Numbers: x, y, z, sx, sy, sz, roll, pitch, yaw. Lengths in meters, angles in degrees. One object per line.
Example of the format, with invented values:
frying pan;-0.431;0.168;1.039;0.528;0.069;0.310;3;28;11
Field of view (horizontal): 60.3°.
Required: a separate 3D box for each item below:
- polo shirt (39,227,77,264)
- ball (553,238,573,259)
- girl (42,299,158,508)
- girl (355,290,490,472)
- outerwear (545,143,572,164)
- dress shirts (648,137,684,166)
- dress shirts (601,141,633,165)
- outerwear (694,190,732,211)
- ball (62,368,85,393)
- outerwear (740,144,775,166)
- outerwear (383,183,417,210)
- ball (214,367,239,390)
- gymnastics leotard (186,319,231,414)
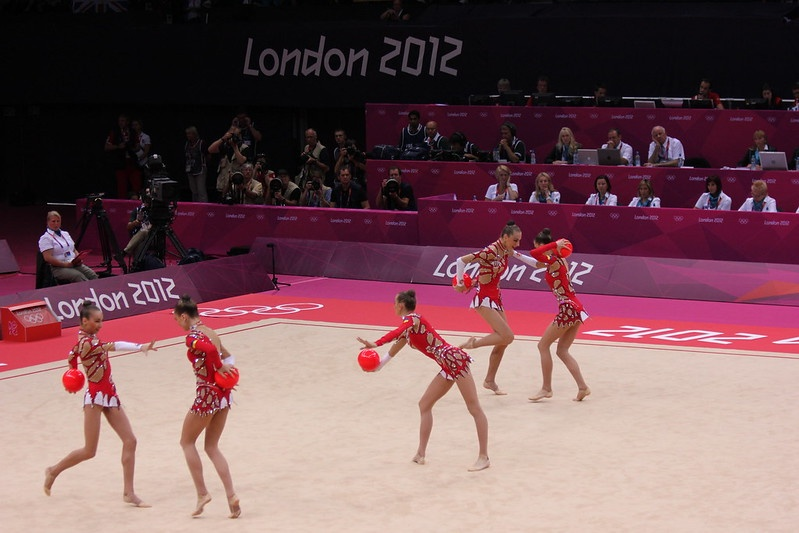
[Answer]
polo shirt;-6.903;-0.418;13.902;0.633;0.666;0.552;-8;15;-31
ball;2.228;-0.236;9.369;0.354;0.290;0.268;-2;2;1
girl;-3.078;1.394;7.003;1.113;2.014;1.241;-7;14;-28
girl;0.408;1.366;7.626;1.189;1.755;0.589;1;13;7
outerwear;4.080;-2.830;17.493;0.843;0.580;0.467;2;0;36
dress shirts;6.564;-2.826;16.933;0.784;0.663;0.693;3;13;18
dress shirts;5.472;-2.855;17.127;0.630;0.566;0.760;-3;-13;17
outerwear;6.971;-1.455;15.310;0.651;0.337;0.258;4;13;21
ball;-3.208;1.152;6.782;0.170;0.266;0.257;-6;13;-23
outerwear;8.483;-2.612;16.296;0.596;0.529;0.947;2;12;9
outerwear;-0.099;-1.737;17.309;0.628;0.799;0.809;-5;12;14
ball;-1.643;1.072;6.566;0.213;0.210;0.107;36;-13;-1
gymnastics leotard;-1.835;0.992;6.591;0.388;0.787;0.366;-3;13;-10
